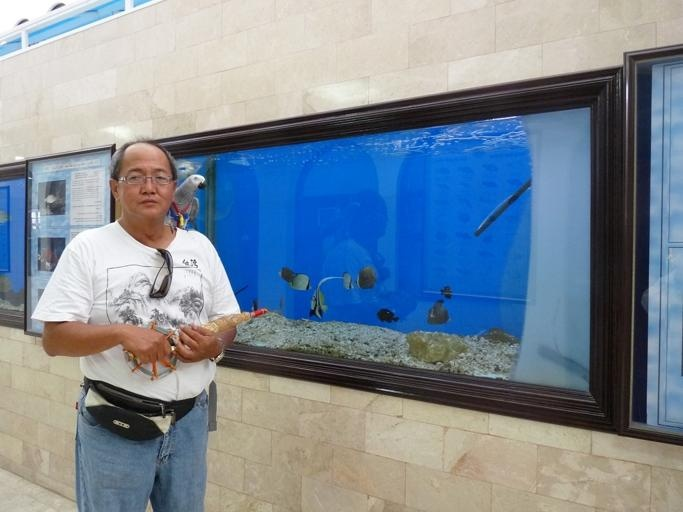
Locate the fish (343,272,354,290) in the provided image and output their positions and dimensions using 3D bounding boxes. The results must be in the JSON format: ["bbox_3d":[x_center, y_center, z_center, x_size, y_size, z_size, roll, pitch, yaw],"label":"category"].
[{"bbox_3d":[0.046,0.129,3.169,0.061,0.089,0.023,-7,-1,32],"label":"fish"}]

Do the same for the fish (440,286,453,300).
[{"bbox_3d":[0.547,0.182,2.951,0.062,0.070,0.009,3,2,28],"label":"fish"}]

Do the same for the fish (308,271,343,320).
[{"bbox_3d":[-0.081,0.223,3.232,0.207,0.249,0.005,3,2,26],"label":"fish"}]

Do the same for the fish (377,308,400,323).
[{"bbox_3d":[0.255,0.312,3.074,0.122,0.076,0.006,3,2,27],"label":"fish"}]

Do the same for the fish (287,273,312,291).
[{"bbox_3d":[-0.232,0.139,3.305,0.143,0.103,0.008,3,2,29],"label":"fish"}]

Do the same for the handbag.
[{"bbox_3d":[-0.905,0.609,2.448,0.331,0.136,0.242,15,-3,33],"label":"handbag"}]

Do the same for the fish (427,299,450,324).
[{"bbox_3d":[0.507,0.282,2.968,0.086,0.125,0.032,8,3,22],"label":"fish"}]
